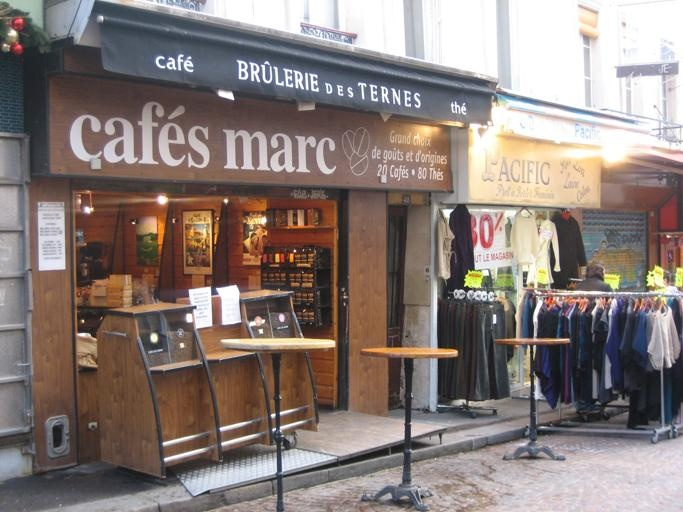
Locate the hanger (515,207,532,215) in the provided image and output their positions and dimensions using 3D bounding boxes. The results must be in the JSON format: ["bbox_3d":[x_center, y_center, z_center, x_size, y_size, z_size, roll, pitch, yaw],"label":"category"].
[{"bbox_3d":[3.149,-0.759,11.784,0.362,0.165,0.133,1,2,-39],"label":"hanger"}]

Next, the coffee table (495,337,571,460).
[{"bbox_3d":[2.487,1.917,8.708,0.818,1.801,0.883,-3,9,-40],"label":"coffee table"}]

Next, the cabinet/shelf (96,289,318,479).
[{"bbox_3d":[-1.400,1.361,7.499,1.734,1.944,2.038,12,9,31],"label":"cabinet/shelf"}]

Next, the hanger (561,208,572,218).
[{"bbox_3d":[4.157,-0.786,12.634,0.192,0.235,0.156,-1,0,2],"label":"hanger"}]
